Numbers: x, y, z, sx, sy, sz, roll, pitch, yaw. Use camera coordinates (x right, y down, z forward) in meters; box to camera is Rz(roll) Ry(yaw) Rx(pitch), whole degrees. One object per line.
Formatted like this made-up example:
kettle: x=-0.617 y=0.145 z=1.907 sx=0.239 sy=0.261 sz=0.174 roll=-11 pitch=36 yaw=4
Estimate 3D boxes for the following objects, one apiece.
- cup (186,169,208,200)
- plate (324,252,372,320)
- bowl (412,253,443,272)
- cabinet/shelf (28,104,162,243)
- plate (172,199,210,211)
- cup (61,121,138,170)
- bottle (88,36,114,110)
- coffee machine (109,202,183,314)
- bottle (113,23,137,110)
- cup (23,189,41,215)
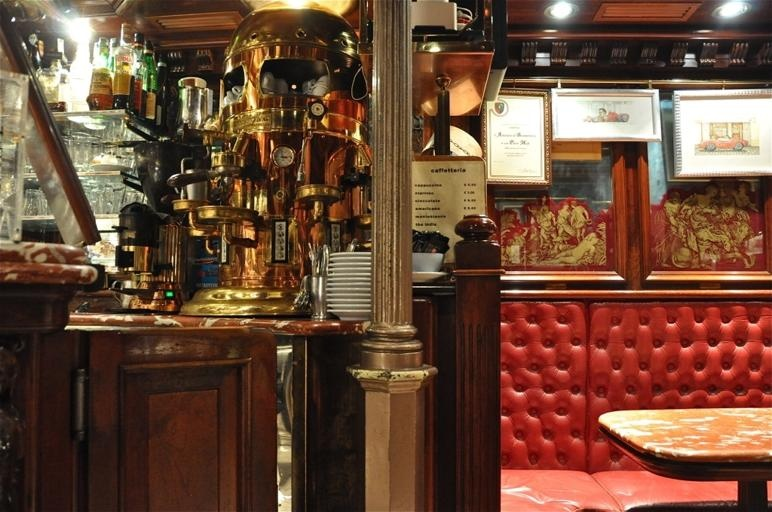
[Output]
cup: x=-0.962 y=-0.349 z=4.980 sx=0.126 sy=0.155 sz=0.147 roll=-2 pitch=2 yaw=-11
plate: x=-0.173 y=0.151 z=4.651 sx=0.292 sy=0.295 sz=0.285 roll=4 pitch=-7 yaw=-32
bowl: x=0.199 y=0.043 z=4.619 sx=0.099 sy=0.047 sz=0.098 roll=1 pitch=-6 yaw=0
cabinet/shelf: x=-1.503 y=-0.420 z=5.062 sx=0.784 sy=0.677 sz=0.256 roll=1 pitch=-3 yaw=-10
plate: x=-0.998 y=-0.258 z=4.990 sx=0.192 sy=0.055 sz=0.089 roll=0 pitch=3 yaw=36
cup: x=-1.631 y=-0.620 z=5.538 sx=0.471 sy=0.306 sz=0.256 roll=2 pitch=5 yaw=3
bottle: x=-1.630 y=-1.012 z=5.579 sx=0.139 sy=0.430 sz=0.379 roll=-2 pitch=2 yaw=-16
coffee machine: x=-1.305 y=0.011 z=5.393 sx=0.387 sy=0.587 sz=0.240 roll=-2 pitch=2 yaw=-21
bottle: x=-1.497 y=-1.066 z=5.580 sx=0.127 sy=0.512 sz=0.313 roll=-2 pitch=2 yaw=-14
cup: x=-1.923 y=-0.286 z=5.344 sx=0.099 sy=0.145 sz=0.069 roll=-2 pitch=2 yaw=-20
